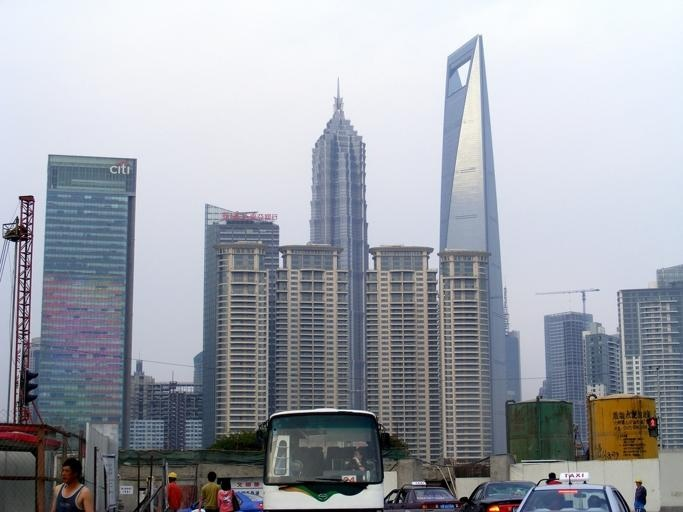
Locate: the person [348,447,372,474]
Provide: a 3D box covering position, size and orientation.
[{"bbox_3d":[1.199,13.222,86.196,1.125,1.446,0.729,-7,-11,8],"label":"person"}]
